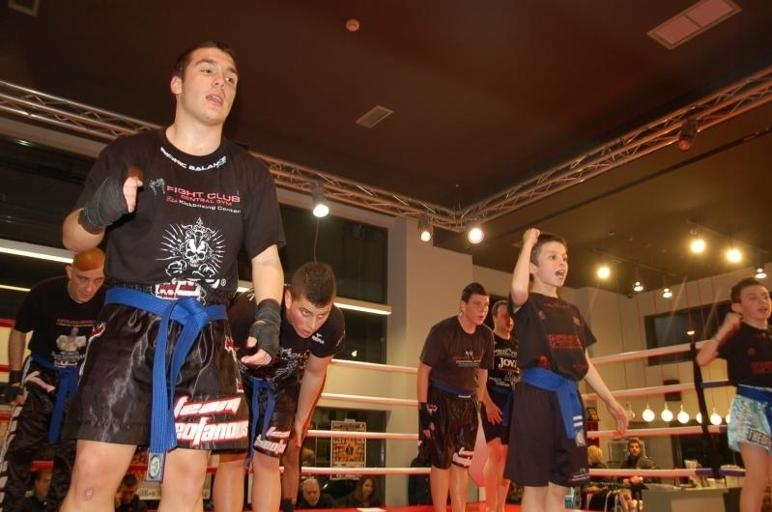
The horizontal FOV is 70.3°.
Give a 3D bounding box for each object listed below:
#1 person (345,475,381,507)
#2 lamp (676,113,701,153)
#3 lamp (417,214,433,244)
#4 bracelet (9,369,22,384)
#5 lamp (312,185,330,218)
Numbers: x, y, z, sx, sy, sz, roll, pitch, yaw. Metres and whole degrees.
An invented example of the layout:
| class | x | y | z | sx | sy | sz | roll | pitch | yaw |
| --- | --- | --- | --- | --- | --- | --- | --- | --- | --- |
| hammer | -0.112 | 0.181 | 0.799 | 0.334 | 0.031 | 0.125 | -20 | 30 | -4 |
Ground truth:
| class | x | y | z | sx | sy | sz | roll | pitch | yaw |
| --- | --- | --- | --- | --- | --- | --- | --- | --- | --- |
| person | -0.274 | 3.346 | 7.774 | 0.382 | 0.404 | 0.705 | 10 | -23 | -14 |
| lamp | 3.514 | -1.434 | 6.378 | 0.233 | 0.337 | 0.228 | -15 | -29 | 40 |
| lamp | 0.598 | -0.443 | 8.370 | 0.191 | 0.481 | 0.301 | 5 | -21 | -2 |
| bracelet | -3.120 | 1.018 | 4.611 | 0.094 | 0.129 | 0.080 | 1 | -20 | -17 |
| lamp | -0.913 | -0.785 | 7.654 | 0.217 | 0.490 | 0.306 | 9 | -22 | -13 |
